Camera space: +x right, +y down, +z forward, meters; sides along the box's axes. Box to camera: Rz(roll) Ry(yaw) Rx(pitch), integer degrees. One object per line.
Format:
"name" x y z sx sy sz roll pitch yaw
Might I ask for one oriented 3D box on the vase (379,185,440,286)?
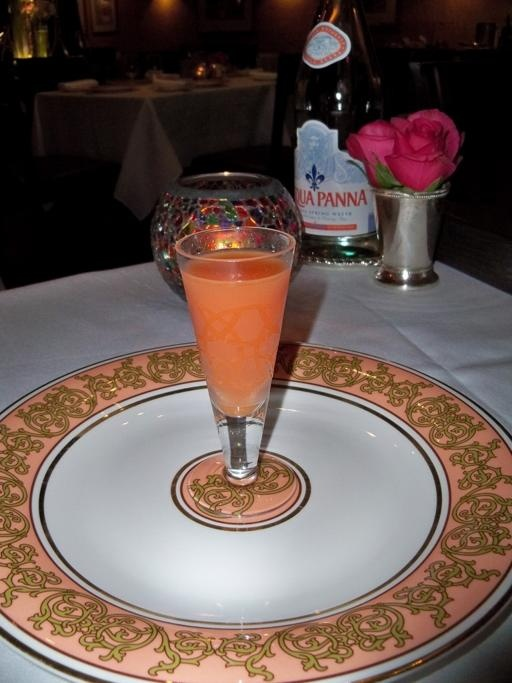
"vase" 0.221 -0.150 0.787 0.109 0.134 0.113 0 19 10

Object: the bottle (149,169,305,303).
"bottle" -0.027 -0.151 0.677 0.165 0.148 0.166 -1 27 0

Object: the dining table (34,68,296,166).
"dining table" -0.475 -1.173 2.937 1.344 0.337 0.661 -15 34 -23

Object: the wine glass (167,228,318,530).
"wine glass" -0.010 0.024 0.395 0.102 0.181 0.103 14 20 40
